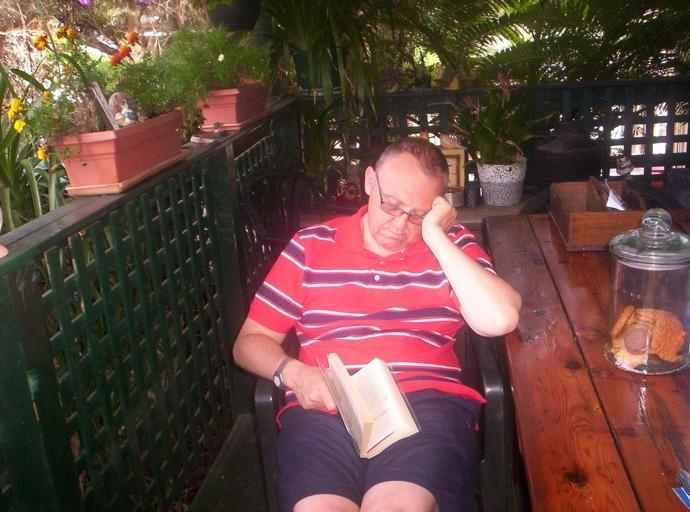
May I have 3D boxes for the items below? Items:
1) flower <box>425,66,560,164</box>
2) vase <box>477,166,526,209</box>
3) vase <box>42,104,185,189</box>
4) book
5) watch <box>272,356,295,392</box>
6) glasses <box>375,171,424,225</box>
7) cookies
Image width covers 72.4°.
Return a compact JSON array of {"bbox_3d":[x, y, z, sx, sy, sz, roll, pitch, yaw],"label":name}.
[{"bbox_3d":[0.997,-0.888,3.363,0.743,0.604,0.755,18,30,40],"label":"flower"},{"bbox_3d":[1.075,-0.469,3.166,0.273,0.254,0.280,-8,11,-41],"label":"vase"},{"bbox_3d":[-0.710,-0.350,1.576,0.164,0.167,0.487,0,24,5],"label":"vase"},{"bbox_3d":[0.065,0.380,1.207,0.195,0.120,0.280,-23,47,1],"label":"book"},{"bbox_3d":[-0.190,0.357,1.445,0.080,0.095,0.051,-11,24,-39],"label":"watch"},{"bbox_3d":[0.174,-0.178,1.472,0.122,0.038,0.130,14,40,-40],"label":"glasses"},{"bbox_3d":[0.725,0.196,1.198,0.144,0.148,0.161,0,19,-6],"label":"cookies"}]
